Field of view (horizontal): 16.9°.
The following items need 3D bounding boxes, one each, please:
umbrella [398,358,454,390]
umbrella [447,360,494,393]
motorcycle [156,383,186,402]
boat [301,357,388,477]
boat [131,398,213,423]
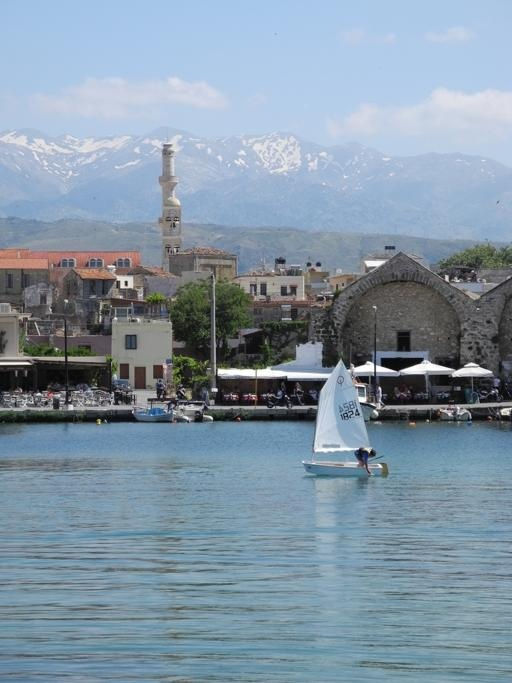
[{"bbox_3d":[8.616,1.495,90.074,1.861,1.549,2.029,2,-2,17],"label":"umbrella"},{"bbox_3d":[10.904,1.978,90.542,1.506,1.555,1.623,-4,6,-34],"label":"umbrella"},{"bbox_3d":[-4.851,2.872,94.386,1.824,1.049,1.114,2,-2,24],"label":"motorcycle"},{"bbox_3d":[2.840,2.836,62.421,2.670,4.176,2.299,-1,0,-18],"label":"boat"},{"bbox_3d":[-4.258,3.649,89.290,3.801,1.205,2.509,-1,-1,-6],"label":"boat"}]
